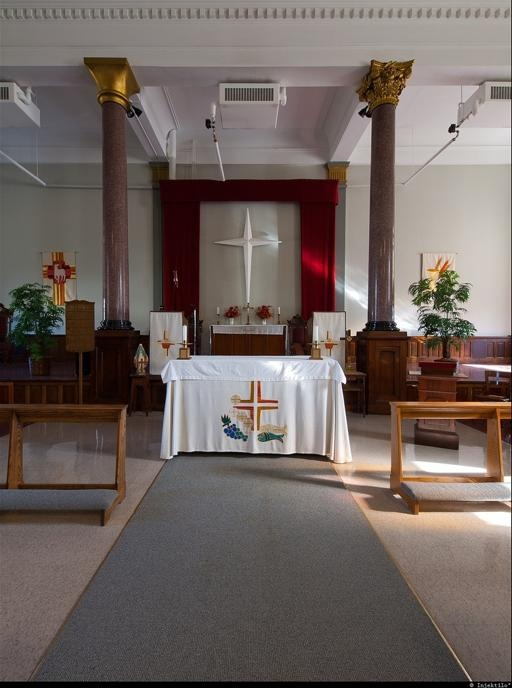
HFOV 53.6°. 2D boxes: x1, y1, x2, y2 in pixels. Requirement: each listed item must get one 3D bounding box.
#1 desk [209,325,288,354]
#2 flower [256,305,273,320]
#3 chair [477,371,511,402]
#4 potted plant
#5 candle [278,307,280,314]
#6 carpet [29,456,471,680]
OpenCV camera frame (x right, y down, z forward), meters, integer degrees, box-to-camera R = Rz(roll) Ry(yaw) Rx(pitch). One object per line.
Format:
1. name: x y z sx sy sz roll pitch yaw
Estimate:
1. desk: -0.094 -0.053 7.493 1.133 0.426 0.227 0 3 0
2. flower: 0.194 -0.554 9.117 0.246 0.117 0.267 -4 -8 33
3. chair: 3.264 0.505 6.900 0.364 0.384 2.091 1 3 24
4. potted plant: -3.591 -0.286 8.278 0.771 1.478 1.581 -1 3 -26
5. candle: 0.430 -0.611 9.373 0.062 0.139 0.201 0 3 5
6. carpet: -0.024 0.995 2.394 1.348 0.036 1.706 0 3 0
